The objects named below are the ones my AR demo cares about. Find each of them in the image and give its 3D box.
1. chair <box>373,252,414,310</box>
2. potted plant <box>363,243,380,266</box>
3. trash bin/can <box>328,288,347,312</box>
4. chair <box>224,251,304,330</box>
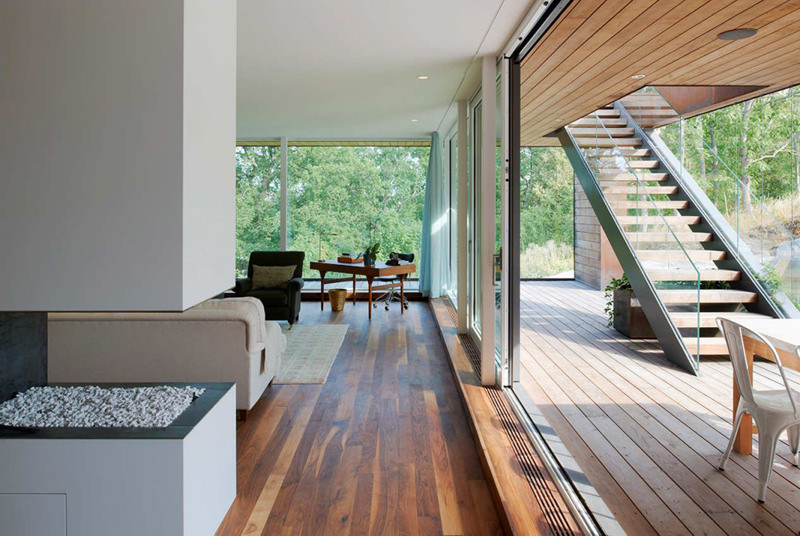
[{"bbox_3d":[-0.124,0.193,8.825,0.606,0.879,0.604,-2,2,26],"label":"chair"},{"bbox_3d":[-0.416,-0.172,8.046,0.222,0.347,0.339,1,-6,0],"label":"potted plant"},{"bbox_3d":[-0.954,0.515,8.657,0.312,0.345,0.318,0,1,-2],"label":"trash bin/can"},{"bbox_3d":[-1.828,0.272,7.783,1.047,1.054,1.058,0,1,12],"label":"chair"}]
